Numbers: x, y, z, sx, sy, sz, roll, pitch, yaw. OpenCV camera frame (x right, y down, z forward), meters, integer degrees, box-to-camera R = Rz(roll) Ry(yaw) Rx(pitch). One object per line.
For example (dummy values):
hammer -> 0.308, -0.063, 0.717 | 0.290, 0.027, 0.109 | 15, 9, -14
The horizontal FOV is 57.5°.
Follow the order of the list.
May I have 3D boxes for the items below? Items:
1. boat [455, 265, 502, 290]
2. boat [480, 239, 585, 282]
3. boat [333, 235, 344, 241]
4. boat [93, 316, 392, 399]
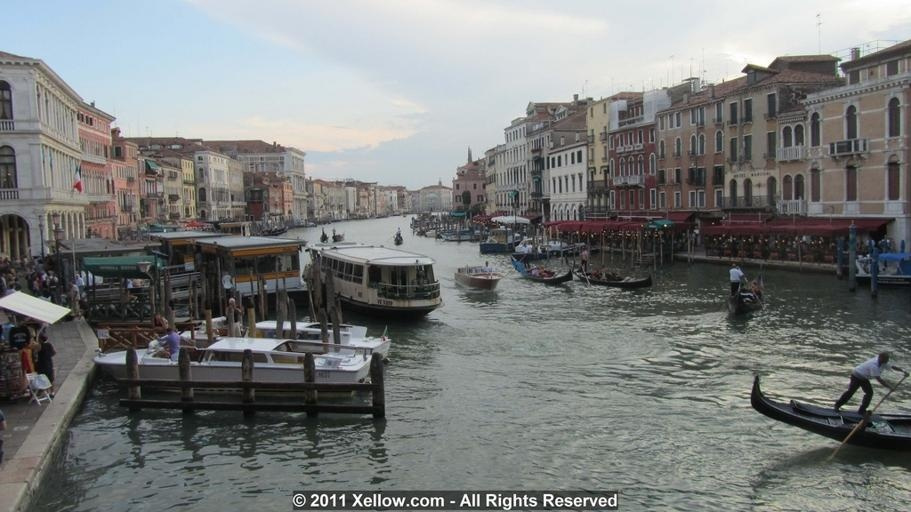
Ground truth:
boat -> 1.847, 1.865, 66.848 | 2.201, 1.559, 5.350 | -3, 10, -14
boat -> 9.538, 0.461, 83.389 | 6.045, 4.653, 14.850 | 1, 0, -24
boat -> -17.208, -2.594, 121.744 | 1.051, 1.123, 3.021 | -2, 2, -3
boat -> -10.506, 6.222, 44.158 | 16.669, 3.410, 5.087 | 1, -3, 4
